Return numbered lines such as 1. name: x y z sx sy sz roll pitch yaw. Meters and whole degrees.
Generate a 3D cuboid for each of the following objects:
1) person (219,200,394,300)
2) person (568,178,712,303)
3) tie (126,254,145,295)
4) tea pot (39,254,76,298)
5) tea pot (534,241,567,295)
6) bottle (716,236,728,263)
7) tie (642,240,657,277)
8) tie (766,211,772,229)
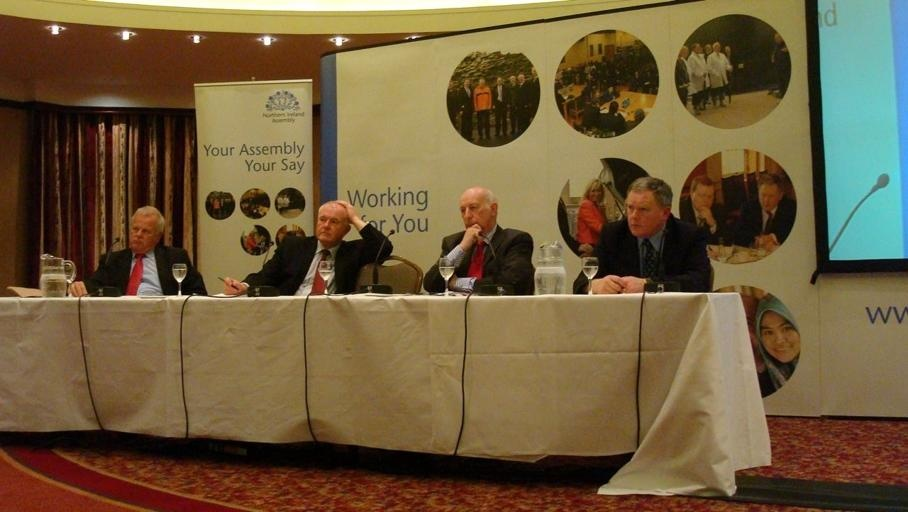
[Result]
1. person: -1.269 -0.070 6.437 1.225 0.625 1.726 3 14 11
2. person: 1.316 -0.135 5.223 0.817 0.802 0.927 10 14 43
3. tie: -2.673 0.159 6.152 0.130 0.291 0.310 -2 11 -11
4. tea pot: -2.905 0.168 5.512 0.338 0.327 0.221 4 -7 -41
5. tea pot: 0.631 0.094 4.833 0.198 0.330 0.409 1 10 6
6. bottle: 2.242 -0.056 6.196 0.072 0.206 0.040 4 12 19
7. tie: 1.436 0.026 5.415 0.077 0.333 0.086 -1 -7 10
8. tie: 2.608 -0.306 6.102 0.038 0.105 0.076 14 -13 -40
